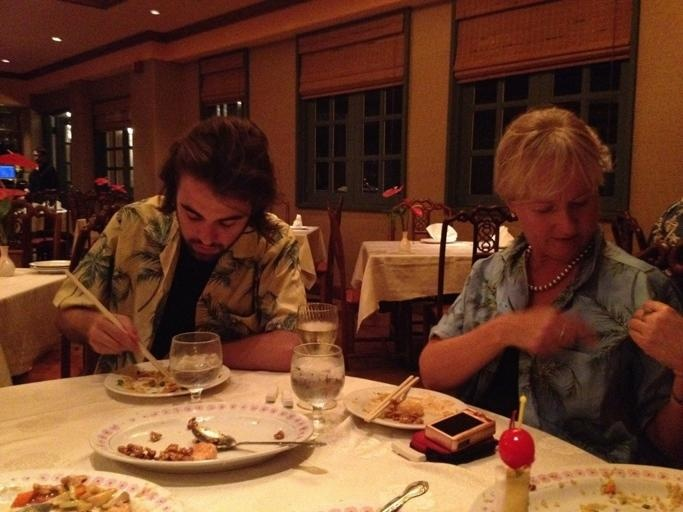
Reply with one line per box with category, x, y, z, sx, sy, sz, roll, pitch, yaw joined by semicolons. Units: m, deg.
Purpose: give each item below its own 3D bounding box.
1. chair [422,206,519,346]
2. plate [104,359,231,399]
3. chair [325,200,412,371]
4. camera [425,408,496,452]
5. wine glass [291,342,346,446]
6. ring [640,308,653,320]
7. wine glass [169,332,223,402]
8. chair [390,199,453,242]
chair;0.467;-0.066;3.451;0.602;1.192;0.675;-3;30;1
plate;-0.470;0.286;1.554;0.240;0.110;0.238;2;4;34
chair;0.199;0.154;4.074;0.466;1.193;0.578;-3;7;-4
camera;0.268;0.395;1.289;0.155;0.045;0.094;-5;9;-37
wine glass;-0.061;0.331;1.374;0.125;0.213;0.142;1;6;-3
ring;0.685;0.130;1.286;0.021;0.006;0.022;-34;25;18
wine glass;-0.350;0.262;1.379;0.140;0.232;0.148;1;-2;3
chair;0.751;-0.382;5.551;0.497;0.526;0.465;0;9;-4
